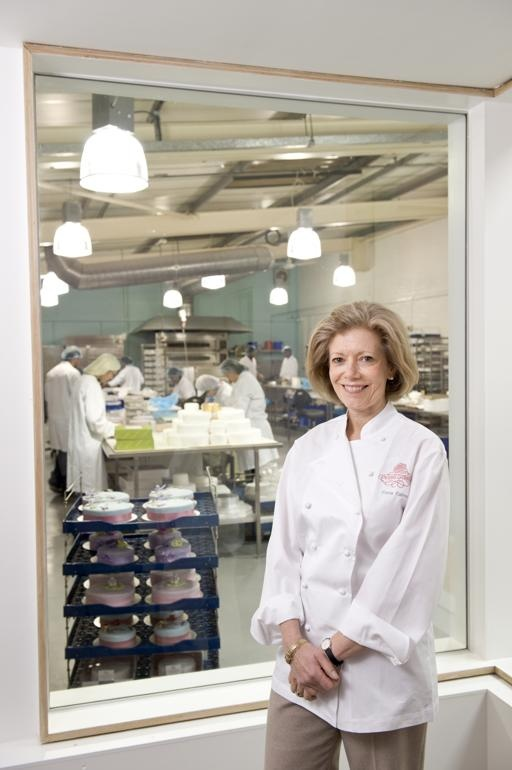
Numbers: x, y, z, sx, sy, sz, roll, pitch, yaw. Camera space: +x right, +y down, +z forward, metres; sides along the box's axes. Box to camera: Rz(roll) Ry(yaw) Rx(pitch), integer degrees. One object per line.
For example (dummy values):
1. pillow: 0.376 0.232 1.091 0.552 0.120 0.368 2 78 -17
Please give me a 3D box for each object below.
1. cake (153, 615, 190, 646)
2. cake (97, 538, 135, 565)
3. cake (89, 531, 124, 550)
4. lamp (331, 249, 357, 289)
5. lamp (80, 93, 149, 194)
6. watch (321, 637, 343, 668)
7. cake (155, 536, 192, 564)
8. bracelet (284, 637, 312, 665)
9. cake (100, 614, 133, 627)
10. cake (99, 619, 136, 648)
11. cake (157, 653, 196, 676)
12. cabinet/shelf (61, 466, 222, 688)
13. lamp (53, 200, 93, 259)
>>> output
1. cake: -0.307 0.900 2.413 0.120 0.064 0.115 0 -9 -5
2. cake: -0.494 0.583 2.307 0.100 0.053 0.096 1 -2 5
3. cake: -0.529 0.545 2.287 0.073 0.038 0.070 0 -2 11
4. lamp: 0.327 -0.444 2.463 0.121 0.155 0.115 1 -4 -2
5. lamp: -0.489 -0.858 2.215 0.234 0.320 0.241 3 7 26
6. watch: 0.158 0.564 1.359 0.038 0.054 0.060 -33 -22 6
7. cake: -0.296 0.607 2.365 0.107 0.034 0.101 -2 2 -24
8. bracelet: 0.092 0.576 1.422 0.025 0.051 0.047 34 18 18
9. cake: -0.500 0.834 2.306 0.063 0.055 0.063 1 -2 24
10. cake: -0.491 0.892 2.312 0.113 0.063 0.108 2 -4 -9
11. cake: -0.288 1.009 2.312 0.105 0.071 0.023 2 -13 1
12. cabinet/shelf: -0.435 0.762 2.477 0.567 0.681 0.408 1 37 -8
13. lamp: -0.615 -0.542 2.205 0.134 0.179 0.126 -9 33 -27
